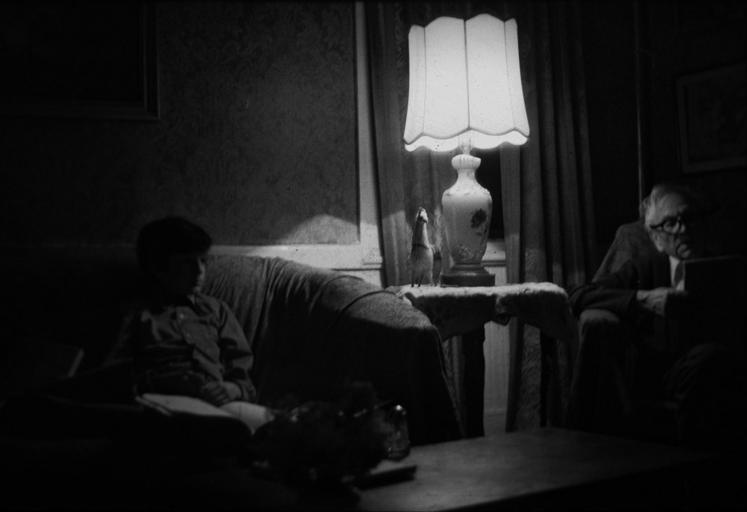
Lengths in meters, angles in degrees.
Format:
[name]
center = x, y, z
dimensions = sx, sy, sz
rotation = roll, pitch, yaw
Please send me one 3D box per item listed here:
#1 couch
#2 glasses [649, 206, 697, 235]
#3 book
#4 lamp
[couch]
center = -0.341, 0.479, 1.876
dimensions = 1.004, 0.335, 0.541
rotation = 9, -1, -14
[glasses]
center = 0.905, -0.103, 1.910
dimensions = 0.065, 0.032, 0.084
rotation = -18, 1, -5
[book]
center = -0.404, 0.386, 1.545
dimensions = 0.325, 0.092, 0.163
rotation = 1, 1, -13
[lamp]
center = 0.323, -0.373, 2.250
dimensions = 0.432, 0.927, 0.241
rotation = 1, 1, 10
